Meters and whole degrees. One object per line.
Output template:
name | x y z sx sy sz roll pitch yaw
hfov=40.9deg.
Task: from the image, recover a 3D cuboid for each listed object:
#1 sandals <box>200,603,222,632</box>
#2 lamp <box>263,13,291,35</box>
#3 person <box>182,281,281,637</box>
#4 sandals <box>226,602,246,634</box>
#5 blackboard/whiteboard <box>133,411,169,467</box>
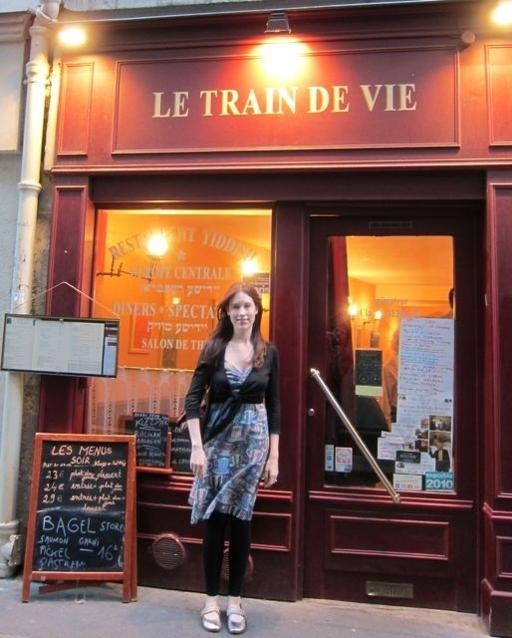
sandals | -0.230 1.572 3.652 0.107 0.106 0.223 2 2 -4
lamp | 0.138 -1.782 4.156 0.161 0.110 0.185 2 2 0
person | -0.127 0.726 3.691 0.500 1.507 0.376 2 1 2
sandals | -0.094 1.568 3.611 0.110 0.123 0.162 2 1 -2
blackboard/whiteboard | -0.638 0.759 4.236 0.300 0.424 0.031 1 -3 12
